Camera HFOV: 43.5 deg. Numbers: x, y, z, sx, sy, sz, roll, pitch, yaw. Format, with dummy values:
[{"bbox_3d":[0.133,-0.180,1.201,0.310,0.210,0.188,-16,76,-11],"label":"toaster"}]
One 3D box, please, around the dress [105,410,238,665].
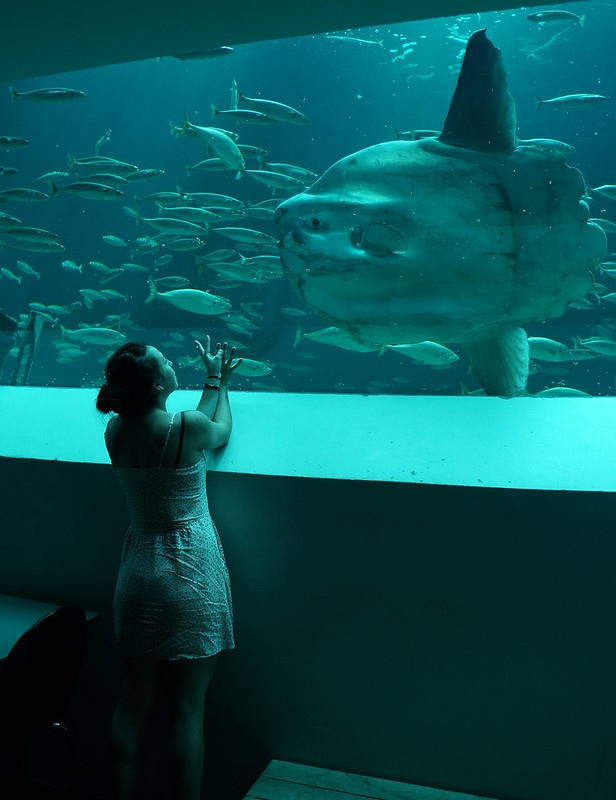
[{"bbox_3d":[-0.455,0.540,2.628,0.394,0.643,0.276,0,9,-12],"label":"dress"}]
